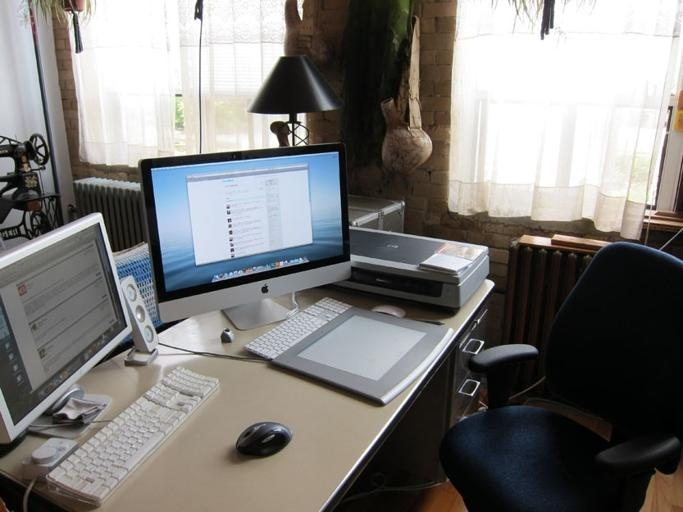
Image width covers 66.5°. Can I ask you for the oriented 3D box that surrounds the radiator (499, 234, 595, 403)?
[{"bbox_3d":[0.990,0.226,2.655,0.553,0.838,0.189,8,9,15],"label":"radiator"}]

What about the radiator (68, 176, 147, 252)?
[{"bbox_3d":[-1.354,-0.259,3.078,0.389,0.576,0.133,-4,13,24],"label":"radiator"}]

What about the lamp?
[{"bbox_3d":[-0.236,-0.701,2.538,0.381,0.527,0.408,14,34,19],"label":"lamp"}]

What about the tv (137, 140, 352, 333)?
[{"bbox_3d":[-0.327,-0.048,1.791,0.595,0.502,0.160,-13,32,-30],"label":"tv"}]

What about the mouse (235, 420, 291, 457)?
[{"bbox_3d":[-0.202,0.476,1.348,0.114,0.065,0.079,-9,32,-14],"label":"mouse"}]
